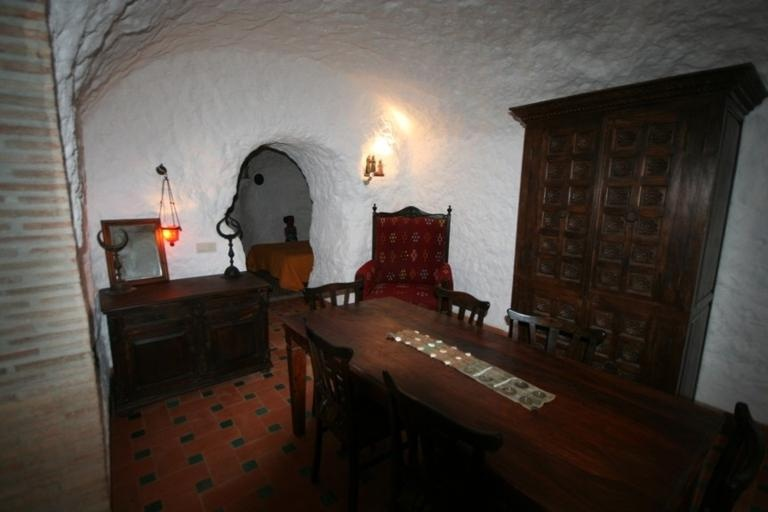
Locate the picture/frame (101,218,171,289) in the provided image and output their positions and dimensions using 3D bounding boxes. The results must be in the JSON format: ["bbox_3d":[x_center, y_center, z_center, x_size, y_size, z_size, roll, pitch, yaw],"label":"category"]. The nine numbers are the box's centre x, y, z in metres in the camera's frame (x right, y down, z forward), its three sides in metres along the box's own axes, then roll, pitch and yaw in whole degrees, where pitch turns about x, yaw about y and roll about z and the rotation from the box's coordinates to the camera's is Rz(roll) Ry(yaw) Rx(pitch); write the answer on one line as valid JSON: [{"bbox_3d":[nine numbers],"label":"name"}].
[{"bbox_3d":[-2.302,-0.016,4.172,0.557,0.659,0.050,-12,3,-35],"label":"picture/frame"}]

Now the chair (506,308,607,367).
[{"bbox_3d":[1.326,0.618,3.455,0.355,0.489,0.317,22,42,34],"label":"chair"}]
